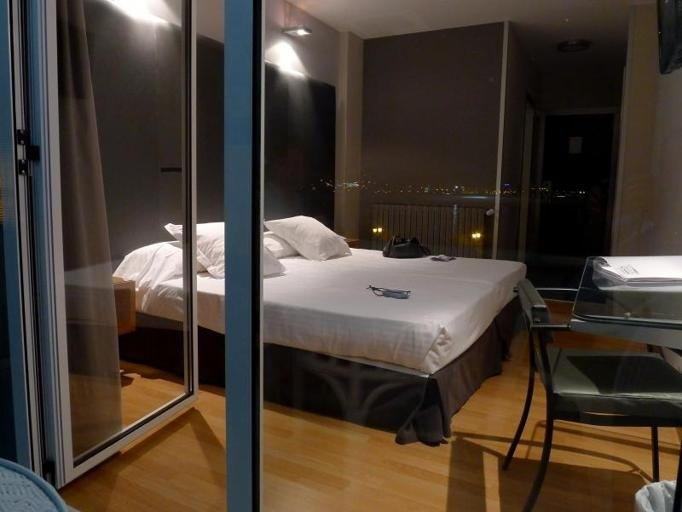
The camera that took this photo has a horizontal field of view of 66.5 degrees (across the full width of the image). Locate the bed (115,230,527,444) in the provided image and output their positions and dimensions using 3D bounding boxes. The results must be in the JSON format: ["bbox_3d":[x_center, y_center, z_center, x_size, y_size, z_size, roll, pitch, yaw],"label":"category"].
[{"bbox_3d":[0.014,0.230,1.491,0.802,0.211,0.687,5,11,28],"label":"bed"}]
